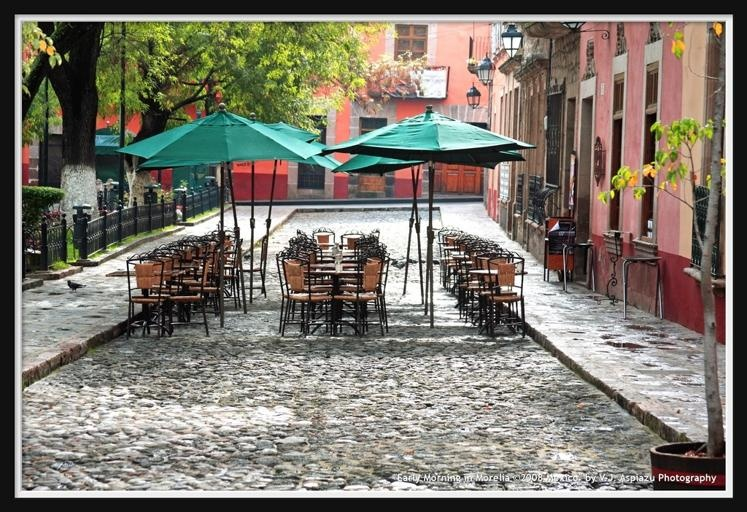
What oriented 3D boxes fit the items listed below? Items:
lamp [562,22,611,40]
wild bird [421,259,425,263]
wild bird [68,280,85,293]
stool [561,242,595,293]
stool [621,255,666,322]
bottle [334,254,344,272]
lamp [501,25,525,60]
[{"bbox_3d":[4.328,-4.530,18.523,0.965,0.258,0.536,14,10,38],"label":"lamp"},{"bbox_3d":[1.086,0.128,20.148,0.092,0.056,0.141,11,11,-9],"label":"wild bird"},{"bbox_3d":[-5.312,0.541,16.274,0.400,0.243,0.159,-5,-2,26],"label":"wild bird"},{"bbox_3d":[4.024,0.202,17.976,0.633,0.918,0.705,-3,10,7],"label":"stool"},{"bbox_3d":[4.179,0.481,14.337,0.833,0.937,0.799,-5,5,-35],"label":"stool"},{"bbox_3d":[-0.497,0.108,13.545,0.113,0.260,0.371,0,6,-3],"label":"bottle"},{"bbox_3d":[3.260,-5.062,21.766,0.405,0.782,0.933,1,6,7],"label":"lamp"}]
